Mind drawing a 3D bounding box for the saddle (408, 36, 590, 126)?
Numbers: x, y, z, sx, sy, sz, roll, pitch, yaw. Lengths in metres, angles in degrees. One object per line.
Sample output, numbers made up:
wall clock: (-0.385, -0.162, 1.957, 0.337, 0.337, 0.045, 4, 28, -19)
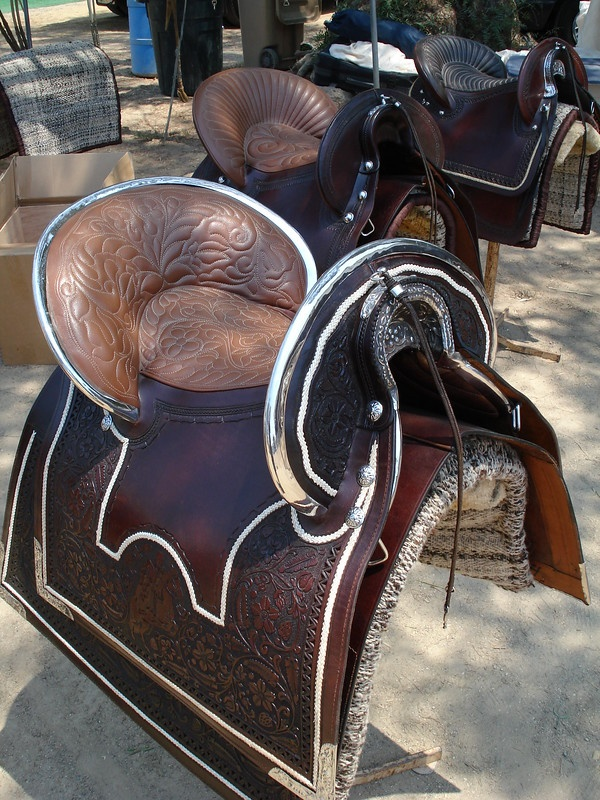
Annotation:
saddle: (0.620, -1.036, 2.136, 0.525, 0.217, 0.824, 0, 30, 0)

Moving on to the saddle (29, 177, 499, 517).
saddle: (0.116, -0.139, 1.221, 0.496, 0.444, 0.175, -33, 58, -13)
